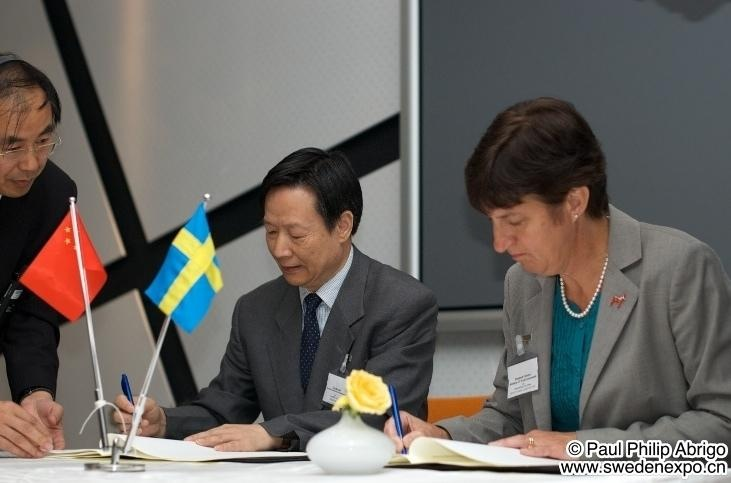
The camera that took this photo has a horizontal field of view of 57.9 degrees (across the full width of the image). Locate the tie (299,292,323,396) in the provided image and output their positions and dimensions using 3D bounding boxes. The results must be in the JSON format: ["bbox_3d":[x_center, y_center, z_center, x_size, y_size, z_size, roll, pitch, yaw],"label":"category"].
[{"bbox_3d":[-0.223,0.411,2.815,0.087,0.373,0.073,-2,-21,12],"label":"tie"}]

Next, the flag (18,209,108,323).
[{"bbox_3d":[-1.097,0.087,2.419,0.271,0.374,0.231,7,-13,-37],"label":"flag"}]

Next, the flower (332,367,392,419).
[{"bbox_3d":[-0.015,0.439,1.929,0.125,0.129,0.133,4,-11,-27],"label":"flower"}]

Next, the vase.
[{"bbox_3d":[-0.036,0.589,1.924,0.188,0.114,0.164,-8,-19,30],"label":"vase"}]

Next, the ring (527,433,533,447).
[{"bbox_3d":[0.531,0.643,2.125,0.020,0.033,0.050,-2,-10,7],"label":"ring"}]

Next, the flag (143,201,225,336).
[{"bbox_3d":[-0.642,0.085,2.294,0.257,0.450,0.166,-3,-10,8],"label":"flag"}]
